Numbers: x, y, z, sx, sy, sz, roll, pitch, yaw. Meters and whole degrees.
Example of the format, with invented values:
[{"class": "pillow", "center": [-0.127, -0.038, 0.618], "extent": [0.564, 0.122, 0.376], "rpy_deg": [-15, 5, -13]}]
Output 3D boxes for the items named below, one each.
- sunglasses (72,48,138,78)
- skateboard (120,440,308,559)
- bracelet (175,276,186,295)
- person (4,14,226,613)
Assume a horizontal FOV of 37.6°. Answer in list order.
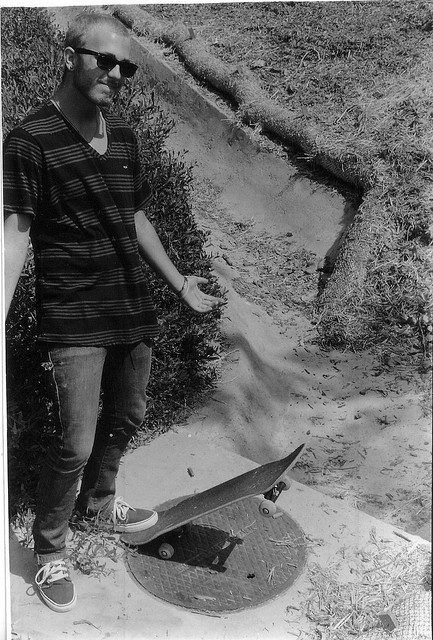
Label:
[{"class": "sunglasses", "center": [-0.419, -0.956, 2.358], "extent": [0.237, 0.057, 0.084], "rpy_deg": [10, 15, -16]}, {"class": "skateboard", "center": [-0.031, 0.902, 3.111], "extent": [0.795, 0.134, 0.236], "rpy_deg": [-28, 7, 3]}, {"class": "bracelet", "center": [-0.163, -0.154, 2.789], "extent": [0.017, 0.065, 0.068], "rpy_deg": [21, 5, 11]}, {"class": "person", "center": [-0.476, 0.036, 2.714], "extent": [0.682, 2.376, 0.941], "rpy_deg": [20, 15, 17]}]
